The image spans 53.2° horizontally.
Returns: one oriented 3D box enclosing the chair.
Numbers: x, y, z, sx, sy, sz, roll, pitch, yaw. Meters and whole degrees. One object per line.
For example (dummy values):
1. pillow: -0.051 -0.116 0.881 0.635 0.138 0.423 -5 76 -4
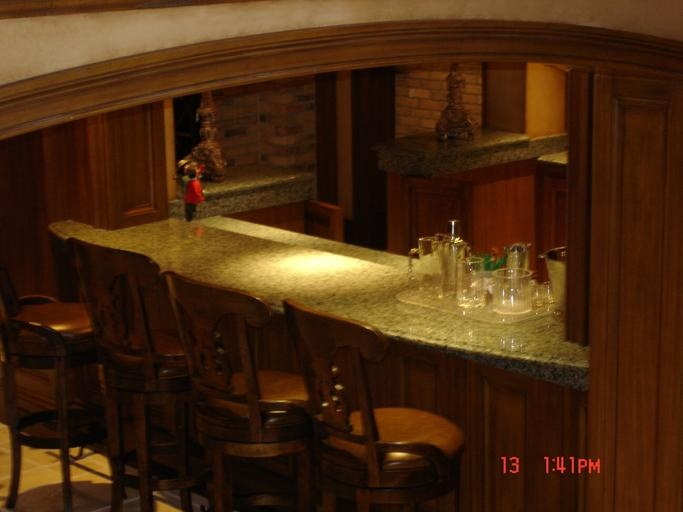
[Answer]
1. chair: -0.430 0.498 2.827 1.294 0.614 0.726 14 20 43
